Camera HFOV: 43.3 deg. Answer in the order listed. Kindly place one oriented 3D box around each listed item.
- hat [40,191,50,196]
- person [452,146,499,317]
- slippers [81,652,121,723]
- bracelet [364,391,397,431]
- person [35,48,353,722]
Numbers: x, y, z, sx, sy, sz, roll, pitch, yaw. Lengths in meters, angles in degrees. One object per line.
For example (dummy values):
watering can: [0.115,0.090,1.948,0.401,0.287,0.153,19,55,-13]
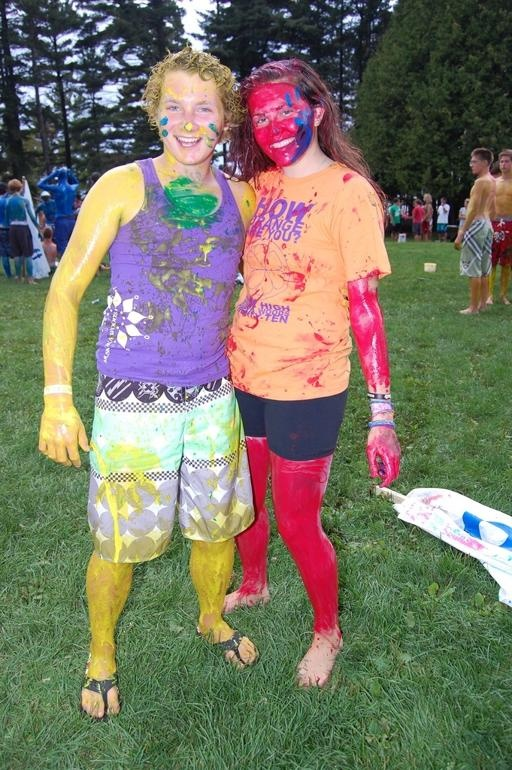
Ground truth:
hat: [-4.591,-4.129,13.914,0.266,0.127,0.341,-8,18,-19]
person: [2.907,-2.004,8.522,0.469,2.130,0.949,5,17,19]
slippers: [-0.516,0.995,2.093,0.087,0.086,0.228,2,-3,-13]
bracelet: [0.428,0.080,2.109,0.113,0.146,0.108,-1,-5,-9]
person: [-0.308,0.035,1.992,0.759,2.018,0.299,-10,19,-29]
